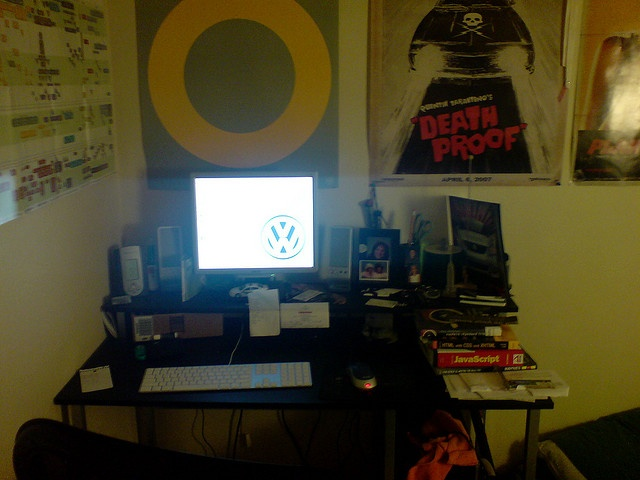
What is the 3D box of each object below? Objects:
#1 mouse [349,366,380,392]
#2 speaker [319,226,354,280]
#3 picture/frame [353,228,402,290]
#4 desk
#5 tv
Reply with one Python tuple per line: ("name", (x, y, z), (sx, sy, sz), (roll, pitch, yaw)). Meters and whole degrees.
("mouse", (0.172, 0.547, 2.150), (0.116, 0.093, 0.100), (-1, 0, 2))
("speaker", (0.136, 0.064, 2.521), (0.182, 0.238, 0.173), (4, -3, -15))
("picture/frame", (0.271, 0.091, 2.473), (0.297, 0.361, 0.043), (1, -2, 1))
("desk", (-0.116, 0.866, 2.609), (1.873, 0.901, 0.579), (0, 45, 1))
("tv", (-0.297, -0.083, 2.400), (0.505, 0.368, 0.037), (0, 8, -1))
